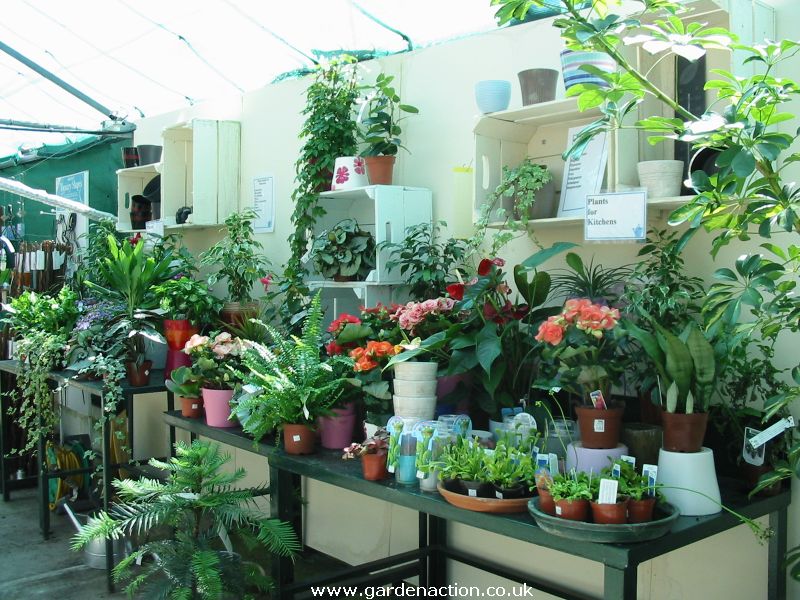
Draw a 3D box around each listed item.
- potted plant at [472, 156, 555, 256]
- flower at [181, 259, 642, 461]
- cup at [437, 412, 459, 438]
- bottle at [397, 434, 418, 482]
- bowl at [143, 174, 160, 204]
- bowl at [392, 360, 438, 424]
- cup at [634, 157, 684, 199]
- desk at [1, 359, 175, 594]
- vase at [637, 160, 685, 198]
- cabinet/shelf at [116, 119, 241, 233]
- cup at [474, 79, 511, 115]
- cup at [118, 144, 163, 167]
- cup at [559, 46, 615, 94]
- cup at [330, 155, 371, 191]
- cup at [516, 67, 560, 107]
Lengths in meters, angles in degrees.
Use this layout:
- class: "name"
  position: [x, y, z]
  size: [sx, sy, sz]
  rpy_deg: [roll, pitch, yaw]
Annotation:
- class: "potted plant"
  position: [0.492, -0.433, 3.127]
  size: [0.338, 0.444, 0.543]
  rpy_deg: [-1, -1, 6]
- class: "flower"
  position: [0.237, 0.193, 2.675]
  size: [1.219, 0.495, 0.745]
  rpy_deg: [-2, 0, 14]
- class: "cup"
  position: [0.171, 0.445, 2.473]
  size: [0.055, 0.053, 0.077]
  rpy_deg: [1, -2, 0]
- class: "bottle"
  position: [0.022, 0.558, 2.461]
  size: [0.071, 0.187, 0.044]
  rpy_deg: [0, -1, -2]
- class: "bowl"
  position: [-1.828, -0.817, 5.185]
  size: [0.075, 0.200, 0.160]
  rpy_deg: [22, -24, -30]
- class: "bowl"
  position: [0.057, 0.346, 2.641]
  size: [0.204, 0.268, 0.200]
  rpy_deg: [1, -5, 0]
- class: "cup"
  position: [0.975, -0.457, 2.665]
  size: [0.156, 0.121, 0.160]
  rpy_deg: [2, -3, 0]
- class: "desk"
  position: [-1.909, 1.086, 4.292]
  size: [0.467, 0.895, 1.287]
  rpy_deg: [2, -5, -40]
- class: "vase"
  position: [0.969, -0.451, 2.605]
  size: [0.157, 0.118, 0.156]
  rpy_deg: [1, 2, 9]
- class: "cabinet/shelf"
  position: [-1.541, -0.852, 4.940]
  size: [0.339, 0.629, 1.024]
  rpy_deg: [2, -2, -38]
- class: "cup"
  position: [0.396, -0.888, 3.072]
  size: [0.158, 0.118, 0.144]
  rpy_deg: [-1, 6, 0]
- class: "cup"
  position: [-1.933, -1.089, 5.243]
  size: [0.299, 0.113, 0.197]
  rpy_deg: [-5, 8, -36]
- class: "cup"
  position: [0.700, -0.899, 2.700]
  size: [0.189, 0.184, 0.206]
  rpy_deg: [0, -1, 0]
- class: "cup"
  position: [-0.261, -0.672, 3.691]
  size: [0.183, 0.148, 0.180]
  rpy_deg: [-1, 6, 0]
- class: "cup"
  position: [0.584, -0.908, 3.017]
  size: [0.157, 0.130, 0.174]
  rpy_deg: [2, 5, 8]
